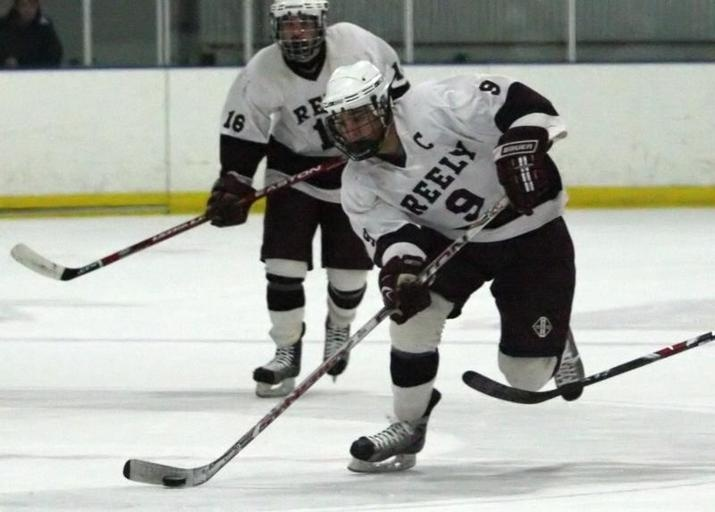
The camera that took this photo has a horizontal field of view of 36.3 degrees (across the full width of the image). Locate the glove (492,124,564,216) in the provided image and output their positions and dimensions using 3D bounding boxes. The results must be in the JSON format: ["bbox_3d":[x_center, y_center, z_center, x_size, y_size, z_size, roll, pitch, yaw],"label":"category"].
[{"bbox_3d":[0.543,-0.279,3.533,0.229,0.271,0.087,-19,9,12],"label":"glove"}]

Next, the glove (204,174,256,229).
[{"bbox_3d":[-0.537,-0.226,4.581,0.197,0.226,0.095,14,-8,6],"label":"glove"}]

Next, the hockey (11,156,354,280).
[{"bbox_3d":[-1.224,-0.228,6.831,2.455,0.308,0.179,-20,-23,11],"label":"hockey"}]

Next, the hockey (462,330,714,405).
[{"bbox_3d":[0.912,0.442,4.227,0.743,0.130,0.100,-17,-10,-7],"label":"hockey"}]

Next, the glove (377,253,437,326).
[{"bbox_3d":[0.162,0.109,3.660,0.169,0.230,0.173,-1,12,1],"label":"glove"}]

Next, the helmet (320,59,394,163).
[{"bbox_3d":[0.005,-0.480,3.638,0.223,0.322,0.161,2,13,14],"label":"helmet"}]

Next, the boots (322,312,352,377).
[{"bbox_3d":[-0.096,0.383,4.729,0.106,0.284,0.148,2,1,3],"label":"boots"}]

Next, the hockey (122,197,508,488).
[{"bbox_3d":[-0.145,0.365,4.306,1.887,0.236,0.127,-30,-25,-8],"label":"hockey"}]

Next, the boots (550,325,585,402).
[{"bbox_3d":[0.791,0.430,4.212,0.120,0.330,0.151,-2,17,15],"label":"boots"}]
